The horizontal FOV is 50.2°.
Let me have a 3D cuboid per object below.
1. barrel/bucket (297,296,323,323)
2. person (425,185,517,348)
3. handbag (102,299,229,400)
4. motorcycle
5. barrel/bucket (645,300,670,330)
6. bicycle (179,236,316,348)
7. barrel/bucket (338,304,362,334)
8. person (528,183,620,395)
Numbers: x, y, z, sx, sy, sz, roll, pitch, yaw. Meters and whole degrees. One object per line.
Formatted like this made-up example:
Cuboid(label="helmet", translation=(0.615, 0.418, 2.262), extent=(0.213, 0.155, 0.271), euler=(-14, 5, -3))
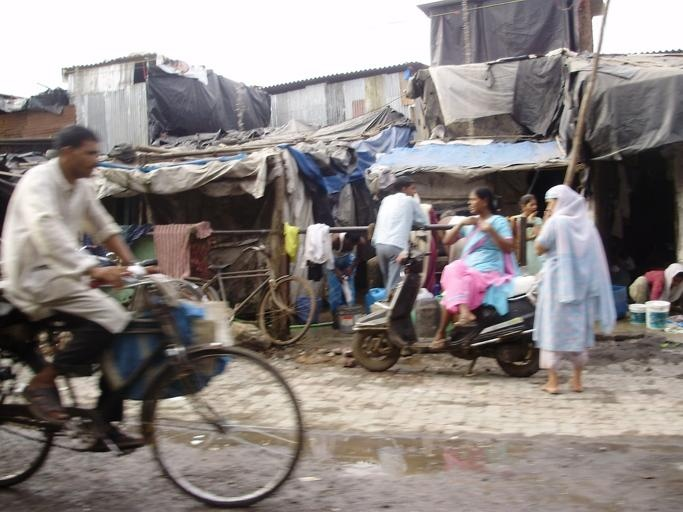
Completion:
Cuboid(label="barrel/bucket", translation=(-0.474, 0.754, 9.994), extent=(0.454, 0.395, 0.395), euler=(0, 3, -1))
Cuboid(label="person", translation=(1.357, 0.120, 7.434), extent=(0.837, 1.601, 0.632), euler=(0, 10, 13))
Cuboid(label="handbag", translation=(-1.325, 0.717, 5.106), extent=(0.555, 0.578, 0.763), euler=(-2, 6, 30))
Cuboid(label="motorcycle", translation=(1.094, 0.621, 7.618), extent=(2.159, 1.147, 0.793), euler=(-3, 5, 27))
Cuboid(label="barrel/bucket", translation=(4.090, 0.786, 9.487), extent=(0.383, 0.337, 0.355), euler=(-1, 1, 0))
Cuboid(label="bicycle", translation=(-1.328, 0.530, 9.287), extent=(2.271, 1.174, 0.797), euler=(1, -2, -36))
Cuboid(label="barrel/bucket", translation=(0.104, 0.880, 10.043), extent=(0.399, 0.353, 0.362), euler=(0, -2, -3))
Cuboid(label="person", translation=(2.155, 0.314, 6.803), extent=(0.743, 1.915, 0.495), euler=(-3, 10, -1))
